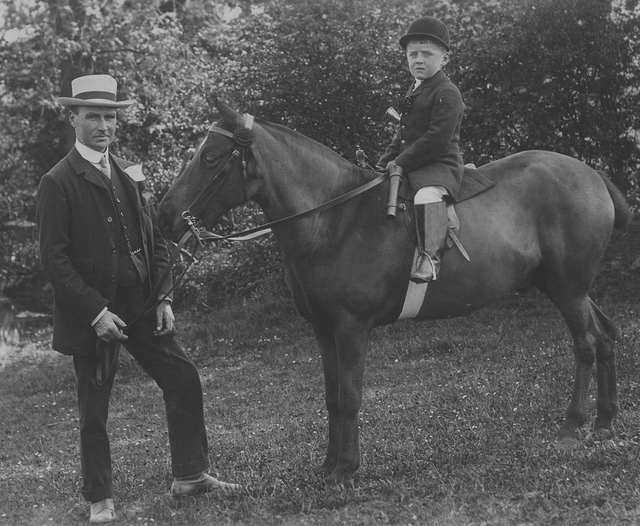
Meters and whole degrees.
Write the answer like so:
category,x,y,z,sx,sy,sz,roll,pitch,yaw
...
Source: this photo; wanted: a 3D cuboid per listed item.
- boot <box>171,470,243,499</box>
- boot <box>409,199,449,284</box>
category,x,y,z,sx,sy,sz,roll,pitch,yaw
boot,-1.023,2.000,10.624,0.625,0.254,0.256,0,1,-6
boot,0.959,-0.191,10.438,0.288,0.722,0.249,1,-1,7
